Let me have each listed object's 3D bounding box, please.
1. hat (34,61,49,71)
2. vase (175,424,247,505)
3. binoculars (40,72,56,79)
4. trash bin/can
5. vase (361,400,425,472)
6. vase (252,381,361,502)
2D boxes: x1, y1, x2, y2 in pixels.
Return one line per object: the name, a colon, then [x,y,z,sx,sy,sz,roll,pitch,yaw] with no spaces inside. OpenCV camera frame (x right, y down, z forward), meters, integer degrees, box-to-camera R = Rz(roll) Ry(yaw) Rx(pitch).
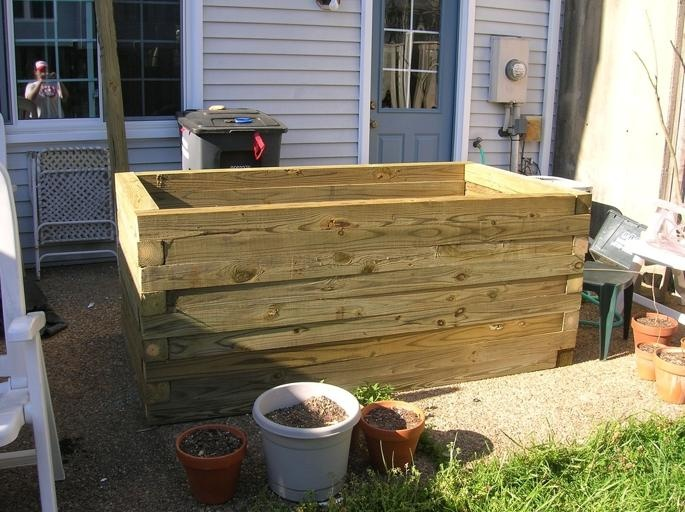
hat: [-2.828,-1.802,5.156,0.193,0.074,0.108,9,35,23]
vase: [-0.542,0.853,2.330,0.343,0.208,0.309,-1,10,-15]
binoculars: [-2.789,-1.707,5.135,0.057,0.033,0.148,17,18,38]
trash bin/can: [-0.944,-0.995,4.886,0.828,0.841,0.670,-3,23,-15]
vase: [0.234,0.839,2.536,0.324,0.234,0.292,-8,16,-25]
vase: [-0.131,0.830,2.409,0.516,0.310,0.469,-5,17,-21]
